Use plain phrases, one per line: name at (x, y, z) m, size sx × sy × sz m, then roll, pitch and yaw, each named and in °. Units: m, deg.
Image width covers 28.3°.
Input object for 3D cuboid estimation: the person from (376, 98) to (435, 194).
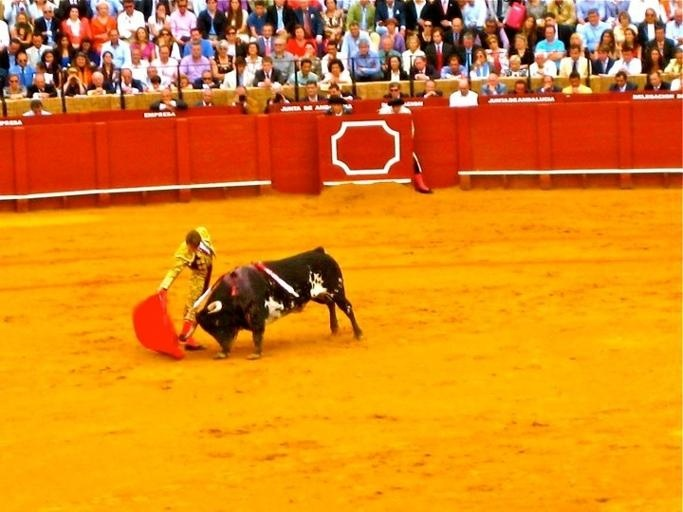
person at (1.288, -2.033, 26.667) m, size 0.796 × 2.174 × 0.637 m, roll -13°, pitch 8°, yaw -2°
